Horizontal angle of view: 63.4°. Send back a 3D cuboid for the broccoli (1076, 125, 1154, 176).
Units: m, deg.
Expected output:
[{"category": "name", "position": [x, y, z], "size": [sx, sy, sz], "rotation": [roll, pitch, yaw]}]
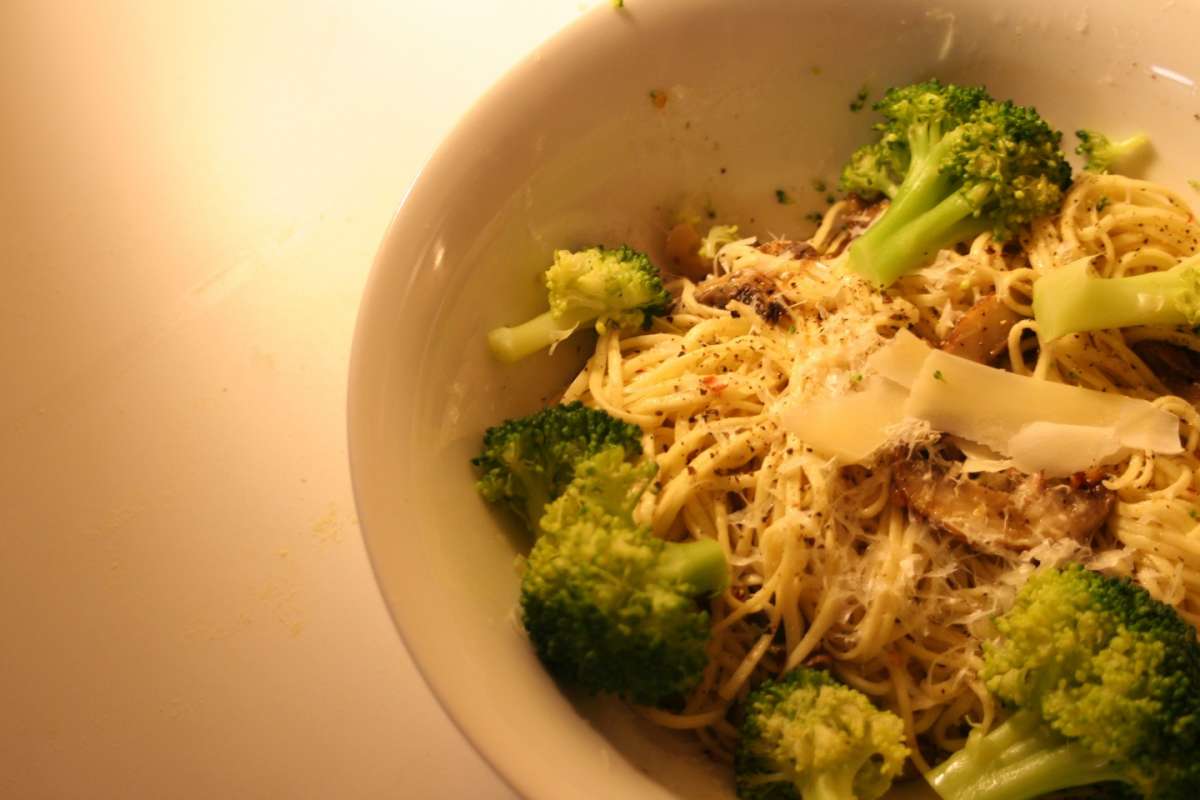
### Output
[{"category": "broccoli", "position": [1.696, -0.822, 3.196], "size": [0.176, 0.053, 0.179], "rotation": [-25, 70, -31]}]
